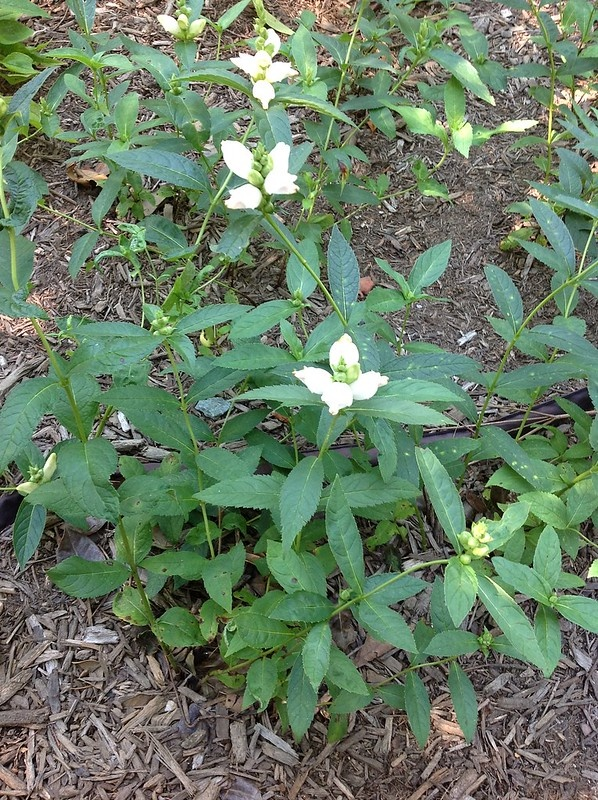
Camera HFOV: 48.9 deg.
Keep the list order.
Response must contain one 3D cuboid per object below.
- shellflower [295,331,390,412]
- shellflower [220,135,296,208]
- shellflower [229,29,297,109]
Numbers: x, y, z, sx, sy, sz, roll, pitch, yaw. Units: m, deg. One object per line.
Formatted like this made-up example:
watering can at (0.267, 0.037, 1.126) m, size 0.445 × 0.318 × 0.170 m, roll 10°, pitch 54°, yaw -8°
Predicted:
shellflower at (0.090, -0.033, 1.487) m, size 0.150 × 0.199 × 0.126 m, roll -21°, pitch 54°, yaw -34°
shellflower at (-0.095, -0.537, 1.635) m, size 0.190 × 0.127 × 0.168 m, roll -18°, pitch 64°, yaw -14°
shellflower at (-0.104, -0.931, 1.919) m, size 0.218 × 0.110 × 0.291 m, roll 7°, pitch 50°, yaw -13°
